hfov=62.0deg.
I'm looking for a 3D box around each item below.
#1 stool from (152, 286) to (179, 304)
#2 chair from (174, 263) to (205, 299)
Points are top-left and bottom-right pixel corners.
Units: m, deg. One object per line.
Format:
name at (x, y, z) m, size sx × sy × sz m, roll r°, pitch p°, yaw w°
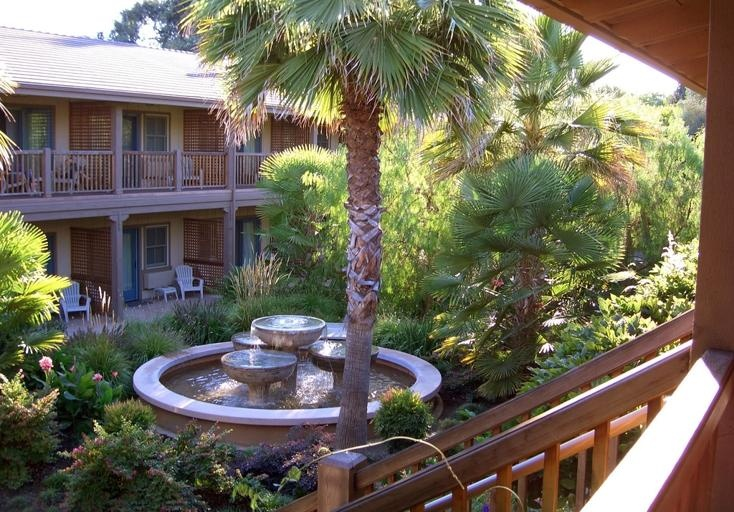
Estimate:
stool at (-6.226, 1.153, 18.935) m, size 0.482 × 0.352 × 0.623 m, roll 2°, pitch 0°, yaw -45°
chair at (-5.621, 0.821, 19.365) m, size 0.826 × 1.232 × 1.179 m, roll -4°, pitch 10°, yaw -31°
